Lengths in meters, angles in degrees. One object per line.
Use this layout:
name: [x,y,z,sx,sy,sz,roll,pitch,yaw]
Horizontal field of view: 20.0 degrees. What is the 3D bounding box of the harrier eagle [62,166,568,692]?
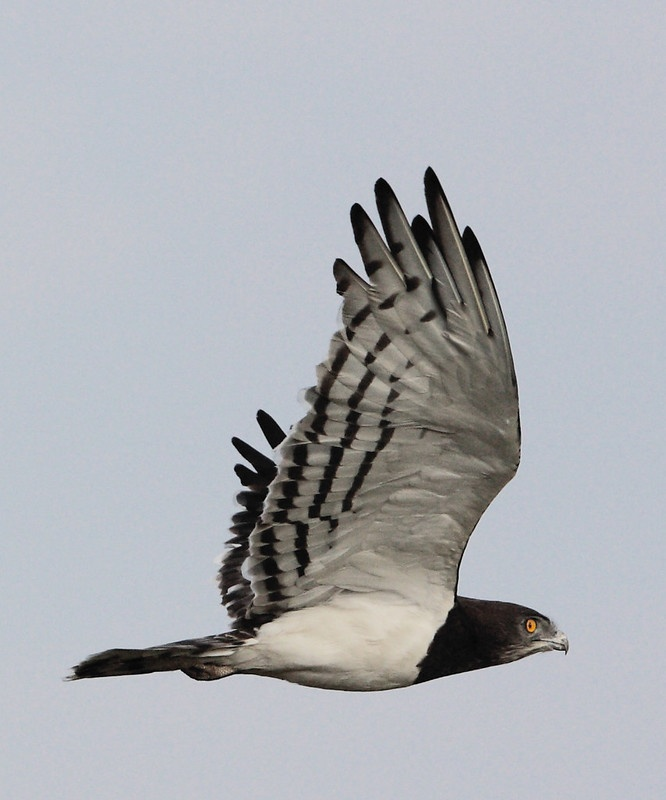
harrier eagle: [-0.025,0.650,8.383,2.197,1.586,2.890,9,-26,-6]
